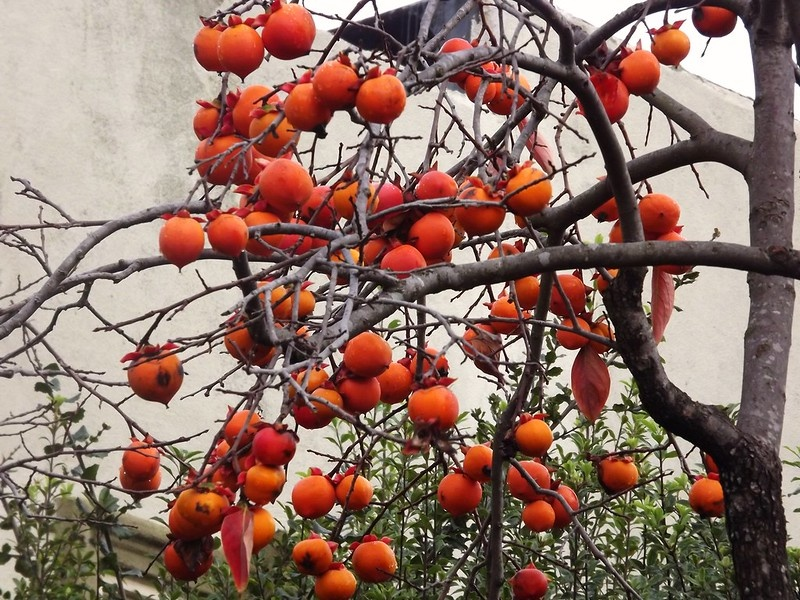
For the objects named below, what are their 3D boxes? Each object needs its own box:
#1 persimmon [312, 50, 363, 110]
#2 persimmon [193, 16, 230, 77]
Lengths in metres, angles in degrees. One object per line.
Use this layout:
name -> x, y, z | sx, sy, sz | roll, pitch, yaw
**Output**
persimmon -> -0.260, -0.815, 4.533 | 0.184, 0.179, 0.219 | 8, -89, -8
persimmon -> -0.765, -1.029, 4.880 | 0.180, 0.183, 0.219 | 8, -86, 8
